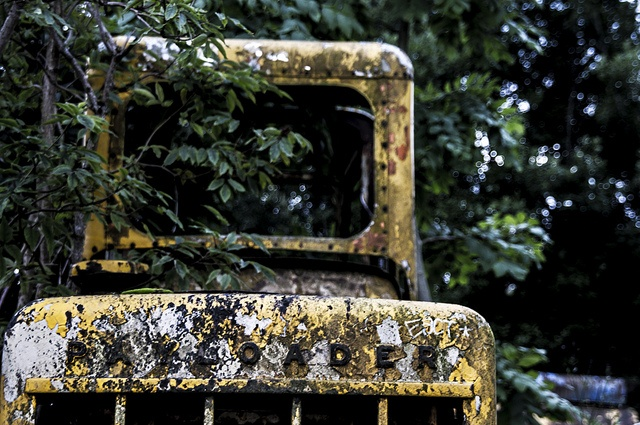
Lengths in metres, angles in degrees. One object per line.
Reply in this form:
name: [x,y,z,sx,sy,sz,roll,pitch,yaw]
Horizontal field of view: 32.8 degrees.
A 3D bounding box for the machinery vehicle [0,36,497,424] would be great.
machinery vehicle: [-0.529,0.869,11.713,2.559,4.977,3.320,1,67,-1]
